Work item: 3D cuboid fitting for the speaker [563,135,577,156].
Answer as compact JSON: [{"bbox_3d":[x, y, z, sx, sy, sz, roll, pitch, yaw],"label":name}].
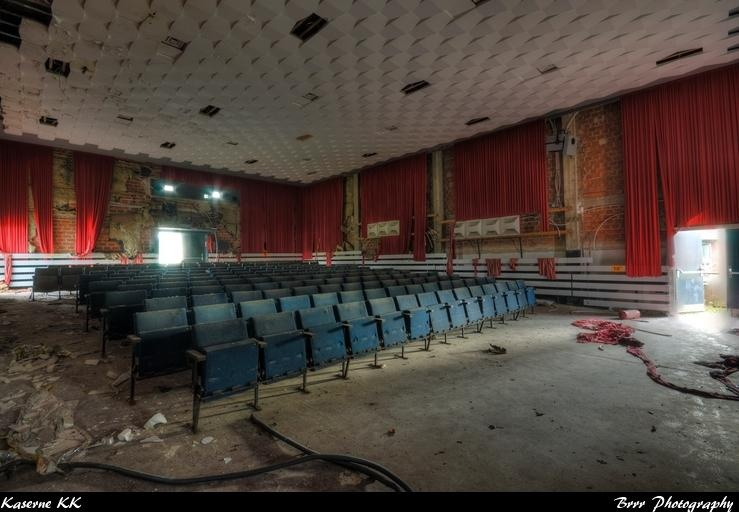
[{"bbox_3d":[5.089,-2.806,10.339,0.324,0.550,0.093,-7,1,26],"label":"speaker"}]
